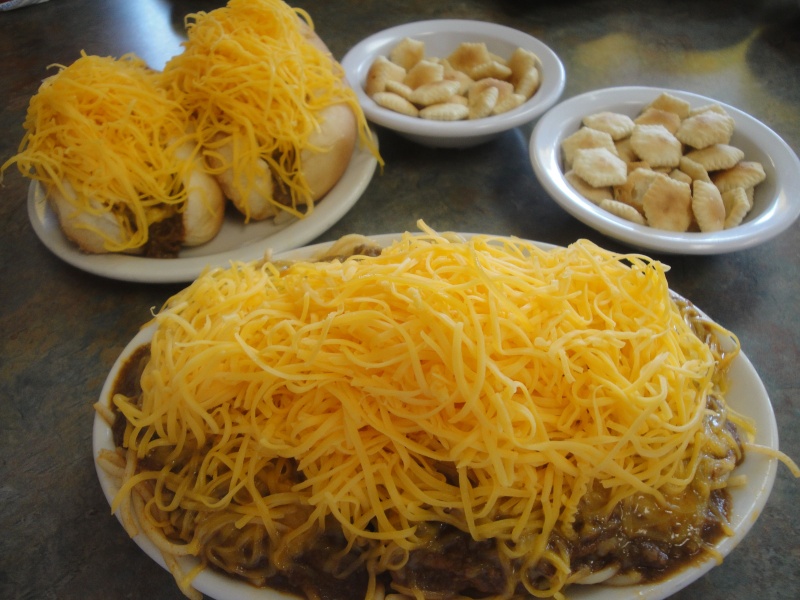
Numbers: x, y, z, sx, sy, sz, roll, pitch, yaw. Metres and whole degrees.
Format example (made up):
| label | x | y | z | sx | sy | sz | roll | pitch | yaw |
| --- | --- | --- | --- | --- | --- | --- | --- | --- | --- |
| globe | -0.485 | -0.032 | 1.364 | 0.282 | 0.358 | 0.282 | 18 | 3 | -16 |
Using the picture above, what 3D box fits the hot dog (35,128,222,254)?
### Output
| label | x | y | z | sx | sy | sz | roll | pitch | yaw |
| --- | --- | --- | --- | --- | --- | --- | --- | --- | --- |
| hot dog | -0.452 | -0.171 | 1.406 | 0.250 | 0.082 | 0.196 | -15 | 58 | -13 |
